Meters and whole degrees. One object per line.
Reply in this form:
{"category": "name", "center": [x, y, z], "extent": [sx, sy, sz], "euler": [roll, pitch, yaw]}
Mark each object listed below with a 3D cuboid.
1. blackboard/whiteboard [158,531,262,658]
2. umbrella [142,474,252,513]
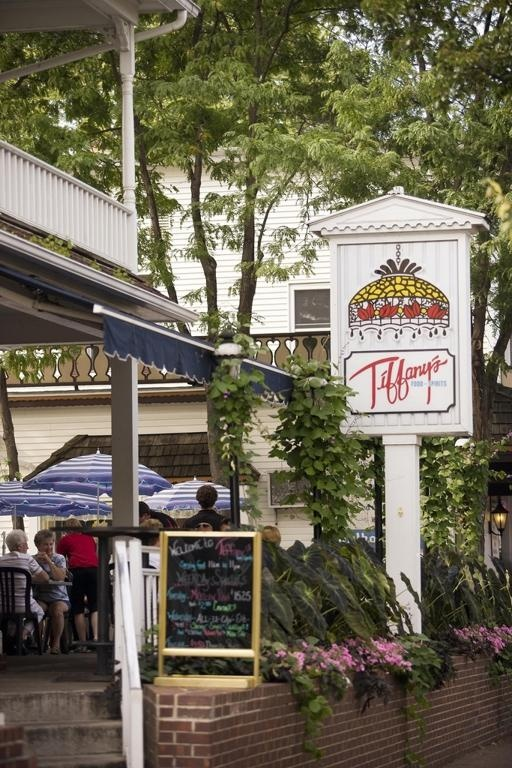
{"category": "blackboard/whiteboard", "center": [-0.293, 1.378, 10.814], "extent": [0.895, 0.984, 0.078], "euler": [0, -14, 3]}
{"category": "umbrella", "center": [-0.790, 1.328, 19.636], "extent": [0.877, 0.339, 0.852], "euler": [-4, -10, 22]}
